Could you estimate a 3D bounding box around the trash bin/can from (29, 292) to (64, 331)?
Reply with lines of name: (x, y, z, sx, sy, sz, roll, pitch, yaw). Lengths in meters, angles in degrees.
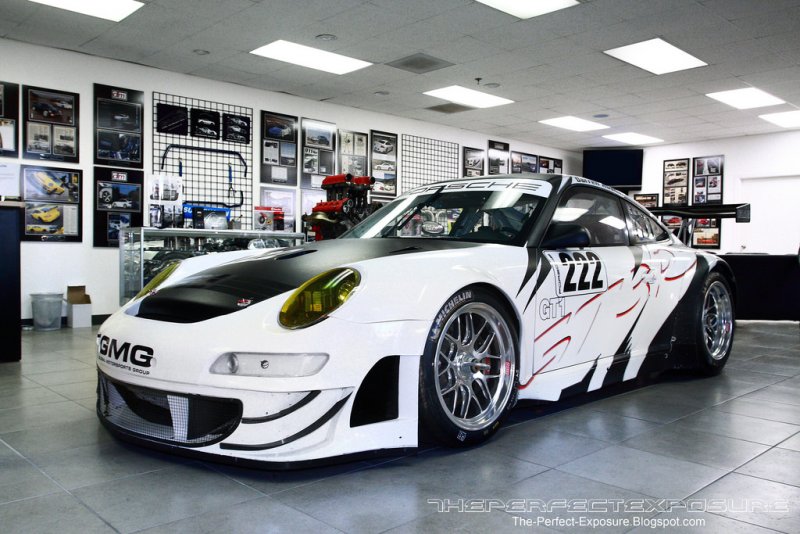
trash bin/can: (-5.020, 0.646, 7.071, 0.589, 0.511, 0.562, -1, -8, -42)

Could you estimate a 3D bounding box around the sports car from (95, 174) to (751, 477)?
sports car: (0.381, 0.262, 3.281, 3.614, 0.969, 1.805, 1, -1, -39)
